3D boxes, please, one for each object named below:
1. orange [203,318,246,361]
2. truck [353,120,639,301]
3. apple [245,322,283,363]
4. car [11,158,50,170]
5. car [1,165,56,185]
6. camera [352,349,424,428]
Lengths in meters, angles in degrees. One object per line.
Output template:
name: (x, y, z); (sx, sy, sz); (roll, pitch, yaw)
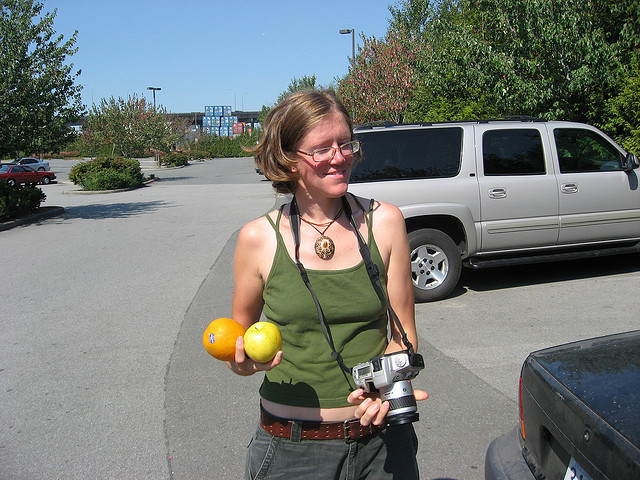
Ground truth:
orange: (-0.354, 0.363, 1.491); (0.144, 0.166, 0.145); (4, -4, -4)
truck: (2.962, -0.947, 7.454); (4.729, 2.319, 2.935); (-5, 8, -9)
apple: (-0.212, 0.358, 1.389); (0.127, 0.137, 0.139); (-8, 35, -3)
car: (-23.877, -6.479, 32.062); (2.252, 0.858, 1.056); (0, 4, -27)
car: (-23.651, -5.225, 31.124); (1.807, 1.650, 4.116); (2, 14, 12)
camera: (0.204, 0.478, 1.255); (0.266, 0.278, 0.150); (-21, -19, 35)
